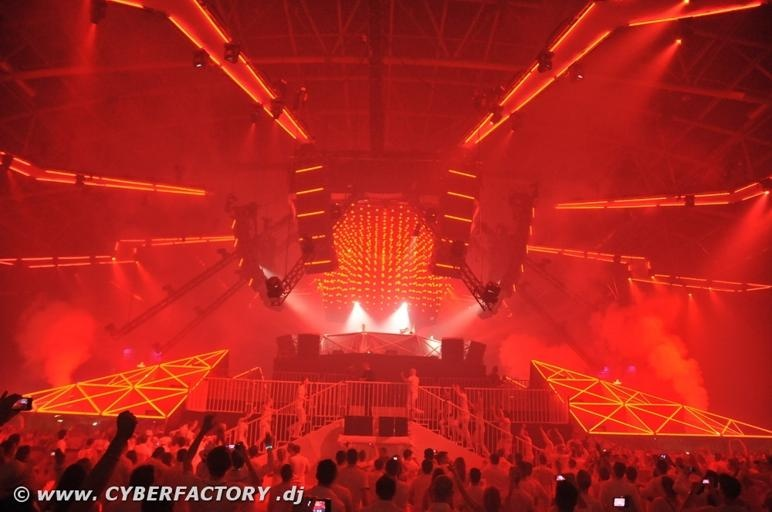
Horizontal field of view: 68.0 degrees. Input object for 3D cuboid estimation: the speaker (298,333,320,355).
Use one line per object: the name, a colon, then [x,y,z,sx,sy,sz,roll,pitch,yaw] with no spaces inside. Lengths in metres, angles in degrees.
speaker: [-4.305,4.841,32.019,1.255,1.453,0.856,5,-54,-3]

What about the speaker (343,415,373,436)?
speaker: [-1.199,7.283,24.409,1.395,0.926,0.728,2,-38,1]

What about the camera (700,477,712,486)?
camera: [9.938,7.027,17.710,0.116,0.240,0.293,21,-56,-14]
